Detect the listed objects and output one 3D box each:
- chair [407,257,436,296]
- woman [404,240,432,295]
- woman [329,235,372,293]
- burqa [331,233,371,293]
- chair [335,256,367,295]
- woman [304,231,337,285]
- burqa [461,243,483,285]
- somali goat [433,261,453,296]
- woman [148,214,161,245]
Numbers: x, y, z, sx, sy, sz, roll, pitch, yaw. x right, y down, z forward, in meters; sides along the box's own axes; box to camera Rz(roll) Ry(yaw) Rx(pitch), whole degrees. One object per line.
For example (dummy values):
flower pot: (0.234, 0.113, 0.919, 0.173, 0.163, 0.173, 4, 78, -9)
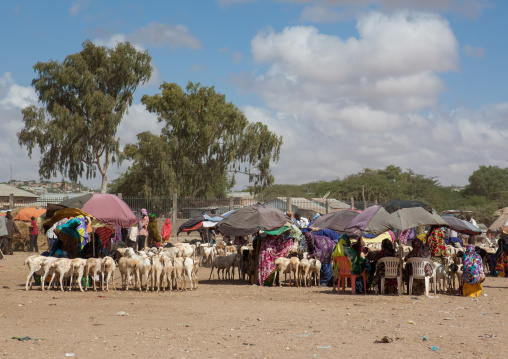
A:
chair: (5.445, 3.203, 19.461, 1.060, 1.567, 1.064, 0, 0, 28)
woman: (5.536, 3.100, 20.171, 0.911, 2.458, 0.900, -3, 28, 6)
woman: (3.341, 2.949, 20.368, 1.151, 2.008, 1.167, -2, -4, -27)
burqa: (3.335, 2.901, 20.422, 1.283, 2.046, 1.296, -5, -1, -3)
chair: (3.194, 3.308, 20.571, 1.160, 1.695, 1.117, -1, -1, 43)
woman: (2.530, 2.935, 22.356, 0.744, 1.757, 2.185, -8, -8, 26)
burqa: (7.161, 3.033, 19.498, 0.743, 1.794, 0.578, -1, -7, 20)
somali goat: (6.339, 3.288, 19.967, 0.558, 1.131, 1.338, 2, 5, 19)
woman: (-4.340, 2.235, 25.795, 0.559, 1.482, 1.862, 0, 4, -11)
